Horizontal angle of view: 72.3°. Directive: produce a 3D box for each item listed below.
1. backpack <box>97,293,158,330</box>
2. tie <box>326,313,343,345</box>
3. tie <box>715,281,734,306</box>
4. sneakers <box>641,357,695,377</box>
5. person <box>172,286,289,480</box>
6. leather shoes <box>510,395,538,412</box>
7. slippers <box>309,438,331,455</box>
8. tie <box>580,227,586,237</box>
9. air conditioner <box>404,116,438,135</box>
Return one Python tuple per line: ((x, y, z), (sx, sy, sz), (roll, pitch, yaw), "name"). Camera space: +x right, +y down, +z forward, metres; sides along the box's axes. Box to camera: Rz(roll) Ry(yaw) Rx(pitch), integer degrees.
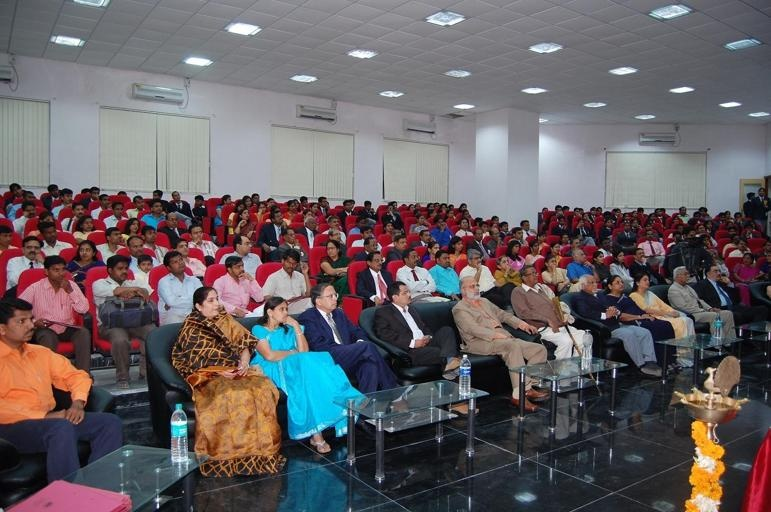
((-2.662, 0.583, 5.396), (0.647, 0.374, 0.323), (1, -4, -33), "backpack")
((-0.532, 0.736, 5.242), (0.050, 0.311, 0.039), (-19, -8, -45), "tie")
((5.159, 0.578, 8.022), (0.269, 0.325, 0.114), (8, -27, -40), "tie")
((3.553, 1.413, 6.674), (0.711, 0.253, 0.209), (-9, 10, -20), "sneakers")
((-1.345, 1.020, 4.450), (0.773, 1.394, 1.005), (-5, 11, -29), "person")
((1.450, 1.545, 5.530), (0.246, 0.099, 0.128), (6, 2, 28), "leather shoes")
((-0.570, 1.648, 4.577), (0.100, 0.071, 0.197), (2, -3, -36), "slippers")
((4.895, -0.610, 13.086), (0.139, 0.054, 0.228), (-1, 35, 0), "tie")
((1.045, -3.953, 15.948), (1.257, 0.528, 0.291), (-7, 12, -39), "air conditioner")
